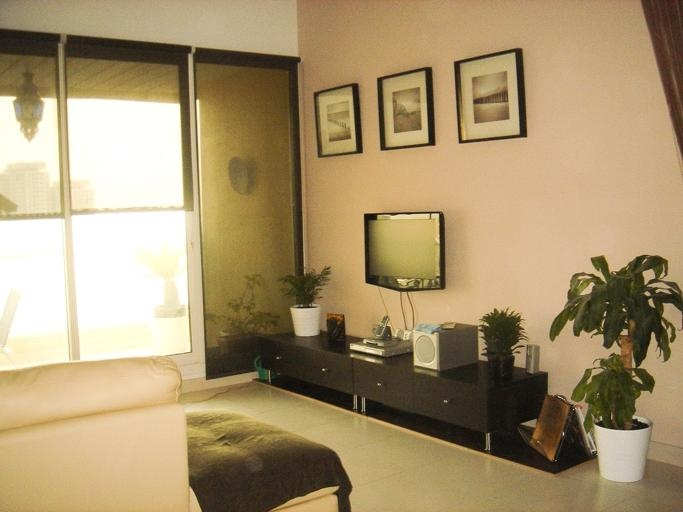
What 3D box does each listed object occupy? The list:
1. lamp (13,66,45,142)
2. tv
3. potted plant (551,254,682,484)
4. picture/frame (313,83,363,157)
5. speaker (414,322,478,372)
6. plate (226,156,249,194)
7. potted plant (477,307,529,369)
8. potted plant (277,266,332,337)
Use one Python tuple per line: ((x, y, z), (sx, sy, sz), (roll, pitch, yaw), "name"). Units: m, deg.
((-2.556, -1.259, 4.457), (0.266, 0.621, 0.246), (1, 8, -12), "lamp")
((0.480, -0.030, 4.484), (0.825, 0.621, 0.102), (0, 0, -34), "tv")
((1.581, 0.620, 3.120), (0.645, 1.261, 0.667), (0, 6, 34), "potted plant")
((-0.032, -1.266, 5.157), (0.071, 0.588, 0.619), (-13, 15, -34), "picture/frame")
((0.729, 0.627, 3.927), (0.413, 0.292, 0.270), (-5, 7, -36), "speaker")
((-0.991, -0.771, 5.232), (0.069, 0.287, 0.292), (-7, -14, 39), "plate")
((1.083, 0.526, 3.762), (0.385, 0.377, 0.346), (-2, 3, -39), "potted plant")
((-0.412, 0.431, 5.274), (0.704, 0.684, 0.584), (-1, 2, -19), "potted plant")
